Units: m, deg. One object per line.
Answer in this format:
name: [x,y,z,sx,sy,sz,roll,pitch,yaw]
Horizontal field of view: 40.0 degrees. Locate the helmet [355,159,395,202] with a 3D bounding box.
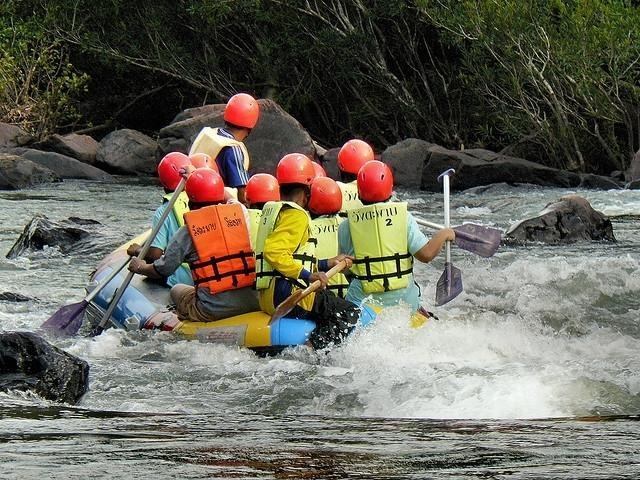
helmet: [0.577,-0.573,9.102,0.401,0.412,0.530,-1,17,15]

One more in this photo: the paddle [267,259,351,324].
paddle: [-0.145,0.512,8.419,0.157,0.078,0.964,43,54,8]

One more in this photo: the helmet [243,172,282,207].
helmet: [-0.672,-0.553,9.661,0.347,0.399,0.398,1,13,-15]

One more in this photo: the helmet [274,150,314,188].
helmet: [-0.242,-0.694,8.567,0.381,0.283,0.282,-8,20,-2]

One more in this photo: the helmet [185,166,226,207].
helmet: [-1.201,-0.568,9.046,0.428,0.332,0.321,25,34,35]

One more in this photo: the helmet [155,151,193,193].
helmet: [-1.644,-0.777,10.329,0.504,0.474,0.393,14,13,34]

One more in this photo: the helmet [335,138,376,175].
helmet: [0.418,-1.010,10.609,0.357,0.452,0.388,9,-15,9]

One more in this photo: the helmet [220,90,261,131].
helmet: [-0.932,-1.672,11.041,0.394,0.378,0.478,23,36,19]

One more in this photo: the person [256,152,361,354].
person: [-0.158,0.296,8.756,1.206,2.196,1.025,3,11,-16]

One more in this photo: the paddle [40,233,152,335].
paddle: [-2.366,0.585,9.309,0.208,1.176,0.046,43,6,-20]

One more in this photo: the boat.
boat: [-1.270,0.372,8.999,2.552,0.451,1.466,9,11,30]

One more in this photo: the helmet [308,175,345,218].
helmet: [0.060,-0.467,9.339,0.386,0.401,0.487,-17,23,-33]

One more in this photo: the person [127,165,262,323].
person: [-1.176,0.226,8.997,1.113,1.204,0.475,0,10,-2]
